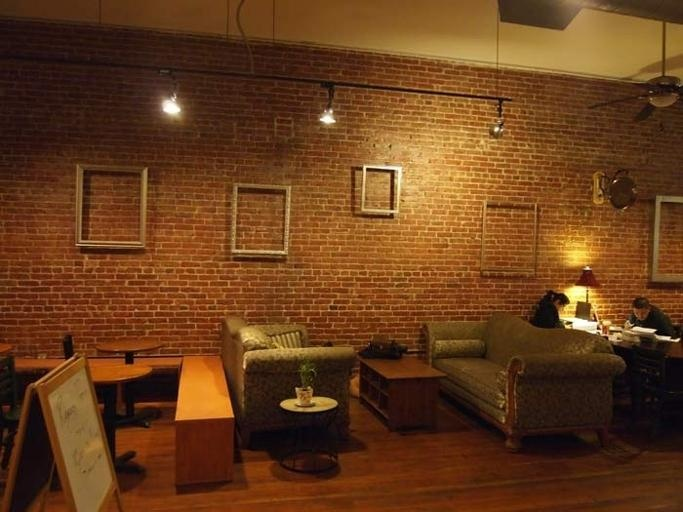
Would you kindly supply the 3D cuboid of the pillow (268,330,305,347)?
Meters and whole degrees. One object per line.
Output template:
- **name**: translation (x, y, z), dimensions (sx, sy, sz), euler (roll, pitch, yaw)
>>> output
- **pillow**: translation (-0.701, 1.100, 8.164), dimensions (0.306, 0.092, 0.249), euler (3, 2, 33)

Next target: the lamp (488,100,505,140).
- **lamp**: translation (2.257, -1.965, 8.834), dimensions (0.221, 0.531, 0.657), euler (4, 12, 13)

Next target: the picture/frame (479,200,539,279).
- **picture/frame**: translation (2.445, -0.244, 9.105), dimensions (1.119, 1.407, 0.148), euler (2, -3, -14)

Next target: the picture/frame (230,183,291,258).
- **picture/frame**: translation (-1.136, -0.490, 8.365), dimensions (0.998, 1.207, 0.099), euler (1, -1, -10)

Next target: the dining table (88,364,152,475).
- **dining table**: translation (-2.423, 1.534, 6.744), dimensions (0.556, 1.105, 1.707), euler (-4, 13, -23)

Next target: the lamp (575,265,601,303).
- **lamp**: translation (3.722, 0.444, 9.273), dimensions (0.333, 0.548, 0.585), euler (6, 12, 22)

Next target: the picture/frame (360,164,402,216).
- **picture/frame**: translation (0.535, -0.946, 8.671), dimensions (0.701, 0.821, 0.062), euler (2, 3, -10)

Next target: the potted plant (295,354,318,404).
- **potted plant**: translation (-0.372, 1.362, 6.506), dimensions (0.226, 0.467, 0.520), euler (0, 11, -2)
